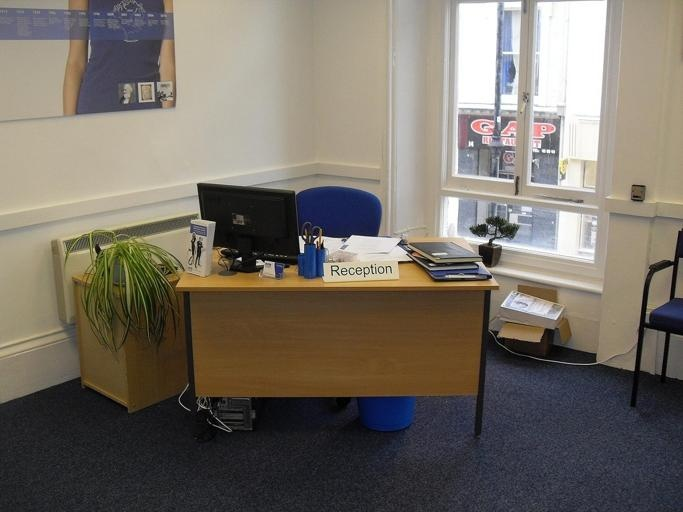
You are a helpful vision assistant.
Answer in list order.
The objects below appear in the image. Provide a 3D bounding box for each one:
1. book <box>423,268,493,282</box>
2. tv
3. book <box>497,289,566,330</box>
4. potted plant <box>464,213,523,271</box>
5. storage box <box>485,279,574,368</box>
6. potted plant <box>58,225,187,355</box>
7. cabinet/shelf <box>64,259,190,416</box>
[{"bbox_3d":[0.708,0.103,3.289,0.367,0.051,0.150,-3,18,-9],"label":"book"},{"bbox_3d":[-0.561,-0.157,3.330,0.469,0.368,0.133,6,28,15],"label":"tv"},{"bbox_3d":[1.541,0.352,4.441,0.372,0.092,0.267,19,37,31],"label":"book"},{"bbox_3d":[1.337,-0.148,5.039,0.582,0.650,0.443,2,4,42],"label":"potted plant"},{"bbox_3d":[1.578,0.644,4.604,0.542,0.413,0.603,9,56,16],"label":"storage box"},{"bbox_3d":[-1.438,0.183,3.737,0.580,0.658,0.614,-6,5,-8],"label":"potted plant"},{"bbox_3d":[-1.541,0.513,4.257,0.807,1.223,0.861,6,8,38],"label":"cabinet/shelf"}]
